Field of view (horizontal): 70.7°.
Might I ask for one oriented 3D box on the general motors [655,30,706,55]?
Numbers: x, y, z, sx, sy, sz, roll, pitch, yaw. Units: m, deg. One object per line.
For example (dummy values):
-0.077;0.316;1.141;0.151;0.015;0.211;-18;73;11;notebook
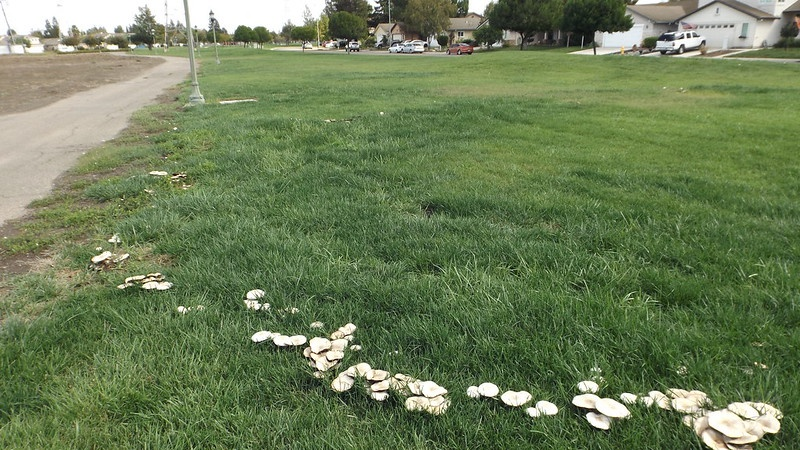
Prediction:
24.814;-16.113;50.015;4.572;1.889;1.891;-16;30;-31;general motors
